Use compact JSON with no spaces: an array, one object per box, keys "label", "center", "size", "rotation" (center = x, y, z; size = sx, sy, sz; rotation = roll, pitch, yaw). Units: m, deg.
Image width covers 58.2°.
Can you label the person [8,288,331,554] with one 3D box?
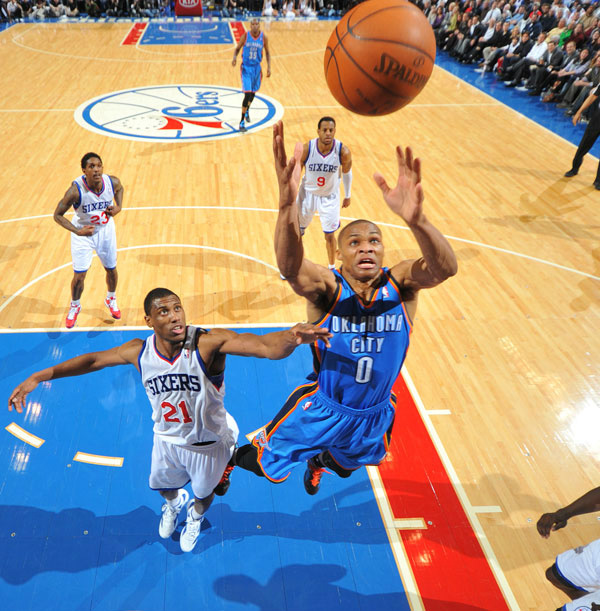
[{"label":"person","center":[-0.878,0.807,3.432],"size":[1.820,1.437,0.548],"rotation":[2,35,-6]}]

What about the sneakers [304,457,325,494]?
[{"label":"sneakers","center":[0.080,1.053,3.369],"size":[0.110,0.296,0.129],"rotation":[2,25,-4]}]

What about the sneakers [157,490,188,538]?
[{"label":"sneakers","center":[-0.770,1.251,3.214],"size":[0.147,0.139,0.331],"rotation":[17,64,-8]}]

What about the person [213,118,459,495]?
[{"label":"person","center":[0.162,0.236,3.017],"size":[1.340,2.122,1.160],"rotation":[8,6,16]}]

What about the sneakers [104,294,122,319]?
[{"label":"sneakers","center":[-1.795,0.018,5.123],"size":[0.076,0.105,0.209],"rotation":[-22,85,-33]}]

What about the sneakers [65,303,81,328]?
[{"label":"sneakers","center":[-2.095,0.093,4.962],"size":[0.094,0.115,0.274],"rotation":[1,63,-2]}]
